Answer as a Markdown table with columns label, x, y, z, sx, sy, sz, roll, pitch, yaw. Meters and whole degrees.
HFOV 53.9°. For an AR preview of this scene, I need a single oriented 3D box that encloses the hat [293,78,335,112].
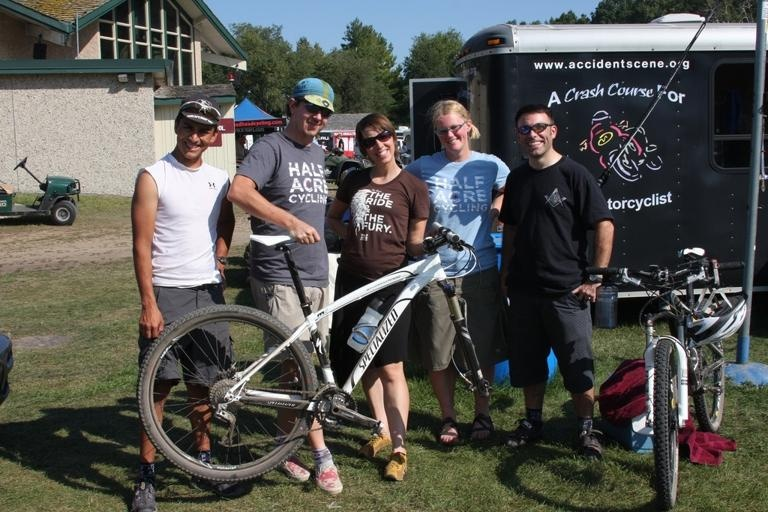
| label | x | y | z | sx | sy | sz | roll | pitch | yaw |
| --- | --- | --- | --- | --- | --- | --- | --- | --- | --- |
| hat | -0.636 | -1.458 | 6.721 | 0.257 | 0.192 | 0.359 | 23 | 3 | -25 |

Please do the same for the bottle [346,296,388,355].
| label | x | y | z | sx | sy | sz | roll | pitch | yaw |
| --- | --- | --- | --- | --- | --- | --- | --- | --- | --- |
| bottle | -0.132 | 0.607 | 6.633 | 0.204 | 0.606 | 0.219 | 30 | 3 | -2 |

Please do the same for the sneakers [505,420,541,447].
| label | x | y | z | sx | sy | sz | roll | pitch | yaw |
| --- | --- | --- | --- | --- | --- | --- | --- | --- | --- |
| sneakers | 1.324 | 1.690 | 7.136 | 0.438 | 0.199 | 0.157 | 2 | 1 | -42 |

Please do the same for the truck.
| label | x | y | z | sx | sy | sz | roll | pitch | yaw |
| --- | --- | --- | --- | --- | --- | --- | --- | --- | --- |
| truck | 2.491 | -1.618 | 10.702 | 5.077 | 4.693 | 3.103 | -1 | 5 | -4 |

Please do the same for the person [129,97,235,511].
| label | x | y | z | sx | sy | sz | roll | pitch | yaw |
| --- | --- | --- | --- | --- | --- | --- | --- | --- | --- |
| person | -1.702 | 0.396 | 6.382 | 0.832 | 3.421 | 0.654 | 0 | 8 | -13 |

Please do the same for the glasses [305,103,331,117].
| label | x | y | z | sx | sy | sz | roll | pitch | yaw |
| --- | --- | --- | --- | --- | --- | --- | --- | --- | --- |
| glasses | -0.550 | -1.275 | 6.664 | 0.147 | 0.122 | 0.294 | 8 | 10 | 37 |

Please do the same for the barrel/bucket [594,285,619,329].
| label | x | y | z | sx | sy | sz | roll | pitch | yaw |
| --- | --- | --- | --- | --- | --- | --- | --- | --- | --- |
| barrel/bucket | 1.983 | 0.473 | 6.805 | 0.179 | 0.415 | 0.221 | 4 | 8 | 13 |

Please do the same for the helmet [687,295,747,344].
| label | x | y | z | sx | sy | sz | roll | pitch | yaw |
| --- | --- | --- | --- | --- | --- | --- | --- | --- | --- |
| helmet | 2.987 | 0.602 | 6.770 | 0.377 | 0.272 | 0.503 | -22 | -6 | -46 |

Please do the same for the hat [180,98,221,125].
| label | x | y | z | sx | sy | sz | roll | pitch | yaw |
| --- | --- | --- | --- | --- | --- | --- | --- | --- | --- |
| hat | -1.548 | -1.216 | 6.344 | 0.332 | 0.226 | 0.161 | 0 | 8 | -17 |
